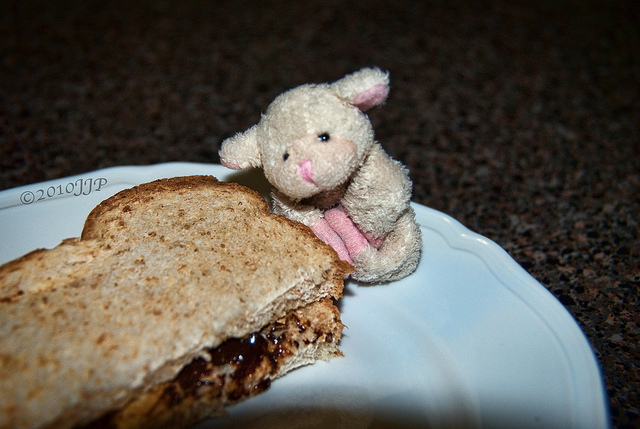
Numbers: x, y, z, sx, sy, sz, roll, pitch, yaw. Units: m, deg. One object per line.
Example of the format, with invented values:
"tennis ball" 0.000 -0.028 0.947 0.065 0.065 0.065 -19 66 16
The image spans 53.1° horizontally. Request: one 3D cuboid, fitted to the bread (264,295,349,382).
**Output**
"bread" -0.015 0.599 3.008 0.395 0.110 0.343 -48 53 7
